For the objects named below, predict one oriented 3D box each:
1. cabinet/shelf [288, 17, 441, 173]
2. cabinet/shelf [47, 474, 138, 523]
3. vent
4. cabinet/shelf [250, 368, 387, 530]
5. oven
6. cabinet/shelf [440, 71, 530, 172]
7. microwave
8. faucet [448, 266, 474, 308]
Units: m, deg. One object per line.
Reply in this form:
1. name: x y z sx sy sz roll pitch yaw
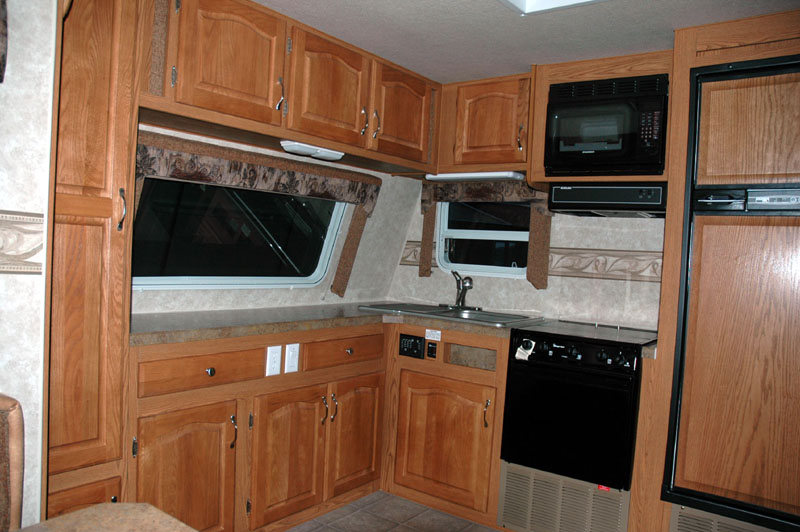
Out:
1. cabinet/shelf: -0.257 -1.111 3.792 0.115 0.396 0.882 -3 -7 40
2. cabinet/shelf: -1.555 1.117 2.934 0.350 0.195 0.184 -4 13 -37
3. vent: 1.280 -0.437 3.733 0.698 0.182 0.047 5 4 30
4. cabinet/shelf: -0.551 1.174 3.819 0.457 0.908 1.196 -2 -1 44
5. oven: 1.058 0.847 3.857 0.995 0.819 0.679 1 -5 39
6. cabinet/shelf: 0.621 -1.021 4.185 0.733 0.611 0.375 5 5 34
7. microwave: 1.357 -0.889 3.801 0.754 0.563 0.372 7 13 41
8. faucet: 0.481 0.175 4.644 0.176 0.276 0.206 3 4 4
